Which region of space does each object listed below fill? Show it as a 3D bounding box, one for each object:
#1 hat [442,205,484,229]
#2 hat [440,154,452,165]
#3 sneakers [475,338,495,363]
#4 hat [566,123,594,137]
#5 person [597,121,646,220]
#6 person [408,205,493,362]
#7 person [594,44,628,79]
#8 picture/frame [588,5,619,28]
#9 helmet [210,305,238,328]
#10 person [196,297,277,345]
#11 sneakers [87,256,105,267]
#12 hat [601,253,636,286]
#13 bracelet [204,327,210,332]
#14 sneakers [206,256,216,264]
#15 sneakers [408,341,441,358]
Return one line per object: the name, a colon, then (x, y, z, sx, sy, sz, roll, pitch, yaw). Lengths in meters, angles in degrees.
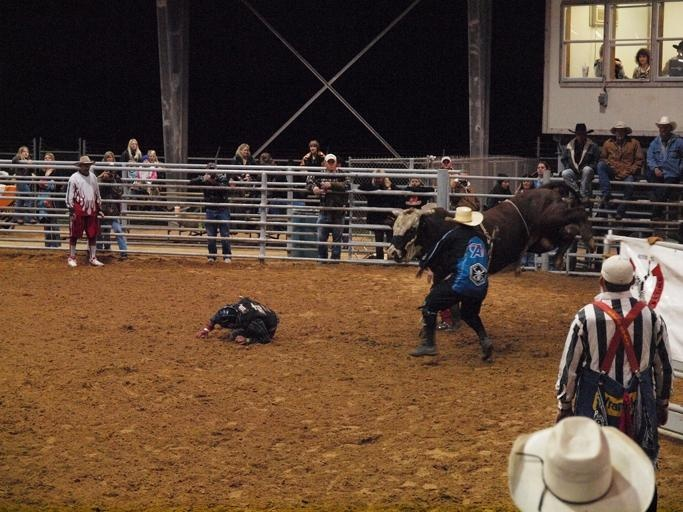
hat: (1.475, -0.455, 9.082, 0.293, 0.240, 0.391, 1, 6, 13)
hat: (2.058, -1.929, 15.375, 0.301, 0.189, 0.410, -1, -7, 9)
sneakers: (1.713, 1.134, 9.246, 0.137, 0.251, 0.364, -6, -37, -10)
hat: (4.789, -2.546, 15.598, 0.702, 0.251, 0.757, 0, -1, 16)
person: (5.107, -1.584, 14.306, 0.767, 1.755, 1.192, 2, 7, 24)
person: (1.334, 0.327, 9.216, 0.805, 1.822, 0.871, -4, 7, -27)
person: (5.601, -4.029, 16.235, 0.564, 0.694, 0.247, 0, 24, 22)
picture/frame: (5.377, -4.916, 15.947, 0.627, 0.522, 0.298, -1, 1, -10)
helmet: (-1.443, 0.773, 9.720, 0.264, 0.289, 0.343, -2, -29, 16)
person: (-1.320, 0.877, 9.894, 1.044, 0.604, 0.590, 0, 29, -2)
sneakers: (-4.606, 0.106, 14.652, 0.151, 0.165, 0.396, -11, 5, -41)
hat: (2.114, 0.105, 5.965, 0.195, 0.129, 0.259, 0, 35, 11)
bracelet: (-1.698, 0.931, 9.839, 0.069, 0.043, 0.066, 1, -3, 15)
sneakers: (-2.581, 0.075, 15.363, 0.088, 0.125, 0.249, -1, -3, -3)
sneakers: (0.997, 1.141, 9.381, 0.413, 0.162, 0.143, 0, 2, 13)
